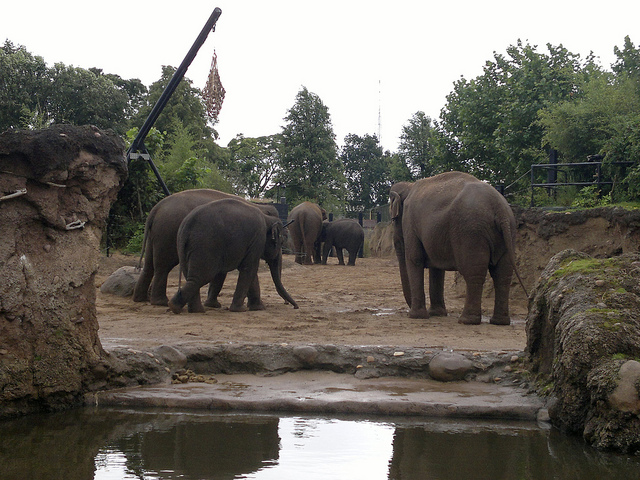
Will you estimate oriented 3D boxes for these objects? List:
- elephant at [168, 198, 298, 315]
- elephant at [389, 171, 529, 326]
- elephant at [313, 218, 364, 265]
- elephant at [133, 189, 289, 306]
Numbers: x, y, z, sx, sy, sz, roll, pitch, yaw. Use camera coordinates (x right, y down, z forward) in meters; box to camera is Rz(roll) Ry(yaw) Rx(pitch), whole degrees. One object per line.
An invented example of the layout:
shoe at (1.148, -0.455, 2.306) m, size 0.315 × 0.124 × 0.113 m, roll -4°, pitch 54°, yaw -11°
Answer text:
elephant at (-1.262, 0.273, 12.313) m, size 2.262 × 1.683 × 0.797 m, roll 3°, pitch 4°, yaw -45°
elephant at (1.909, 0.114, 11.872) m, size 1.132 × 2.195 × 2.840 m, roll -2°, pitch 3°, yaw -32°
elephant at (0.330, 0.112, 26.158) m, size 2.422 × 1.461 × 0.831 m, roll 0°, pitch -8°, yaw 34°
elephant at (-1.577, 0.182, 13.251) m, size 3.053 × 1.841 × 1.229 m, roll 5°, pitch 4°, yaw -36°
